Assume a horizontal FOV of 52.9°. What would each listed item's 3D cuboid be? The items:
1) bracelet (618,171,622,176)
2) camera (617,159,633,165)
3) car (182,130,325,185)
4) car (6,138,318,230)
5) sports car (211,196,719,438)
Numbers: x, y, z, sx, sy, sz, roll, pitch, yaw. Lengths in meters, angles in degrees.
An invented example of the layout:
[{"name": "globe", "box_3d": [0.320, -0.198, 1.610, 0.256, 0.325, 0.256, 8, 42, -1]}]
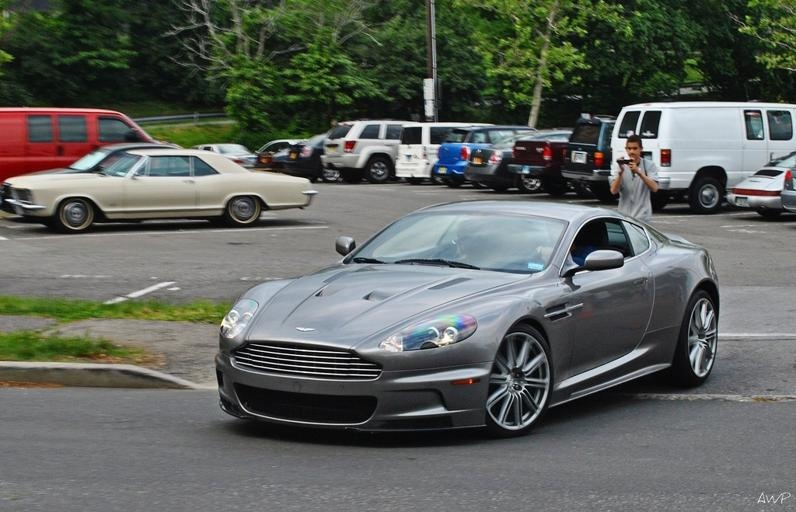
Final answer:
[{"name": "bracelet", "box_3d": [3.106, -1.142, 11.166, 0.076, 0.052, 0.029, 2, -20, 16]}, {"name": "camera", "box_3d": [3.123, -1.302, 11.113, 0.313, 0.089, 0.147, -8, 12, -43]}, {"name": "car", "box_3d": [-6.188, -3.845, 35.685, 3.789, 1.371, 6.091, -8, 16, -42]}, {"name": "car", "box_3d": [-5.594, -1.608, 19.145, 6.216, 1.120, 2.423, -1, 5, -24]}, {"name": "sports car", "box_3d": [0.810, 0.337, 8.023, 3.114, 1.261, 5.273, 10, 12, 42]}]
